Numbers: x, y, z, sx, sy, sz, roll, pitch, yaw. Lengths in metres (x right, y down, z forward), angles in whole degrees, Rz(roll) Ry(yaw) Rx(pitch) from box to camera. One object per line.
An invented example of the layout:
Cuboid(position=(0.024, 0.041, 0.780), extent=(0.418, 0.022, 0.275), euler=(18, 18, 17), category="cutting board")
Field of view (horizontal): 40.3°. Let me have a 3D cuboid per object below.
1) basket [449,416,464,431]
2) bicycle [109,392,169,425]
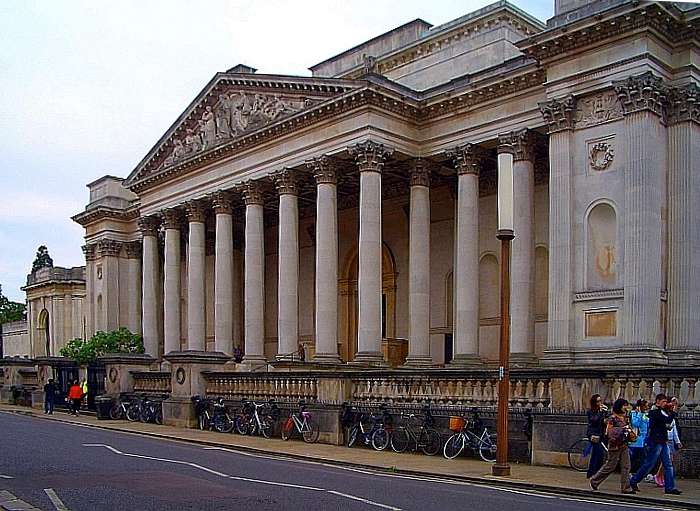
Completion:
Cuboid(position=(3.838, 5.999, 34.291), extent=(0.494, 0.461, 0.570), euler=(2, -6, 6), category="basket")
Cuboid(position=(-10.642, 7.575, 47.874), extent=(0.691, 1.598, 4.806), euler=(8, -13, -40), category="bicycle")
